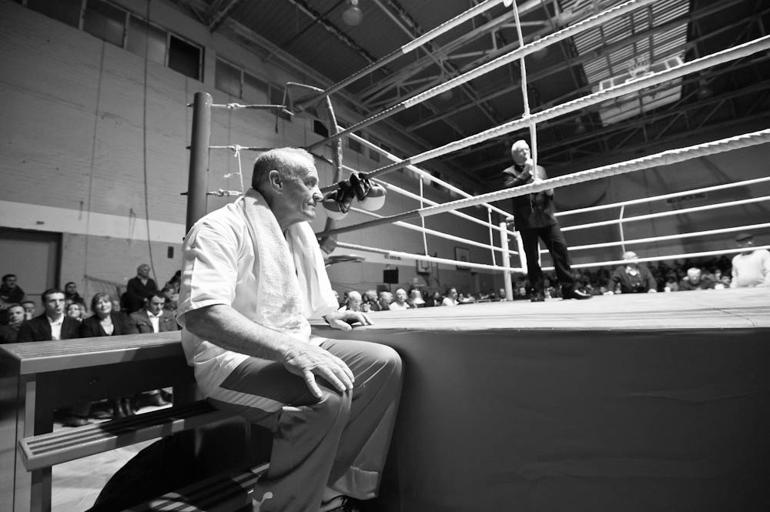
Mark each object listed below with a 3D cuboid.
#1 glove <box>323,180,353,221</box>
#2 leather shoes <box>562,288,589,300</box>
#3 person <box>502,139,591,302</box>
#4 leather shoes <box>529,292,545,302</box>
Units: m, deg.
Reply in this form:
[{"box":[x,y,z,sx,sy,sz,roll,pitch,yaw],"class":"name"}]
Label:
[{"box":[-0.344,-0.414,3.579,0.180,0.243,0.183,14,20,6],"class":"glove"},{"box":[1.628,0.327,4.200,0.212,0.089,0.080,-9,-16,35],"class":"leather shoes"},{"box":[1.426,-0.380,4.461,0.622,1.557,1.081,-5,-6,19],"class":"person"},{"box":[1.423,0.393,4.553,0.061,0.064,0.152,-12,-30,18],"class":"leather shoes"}]
